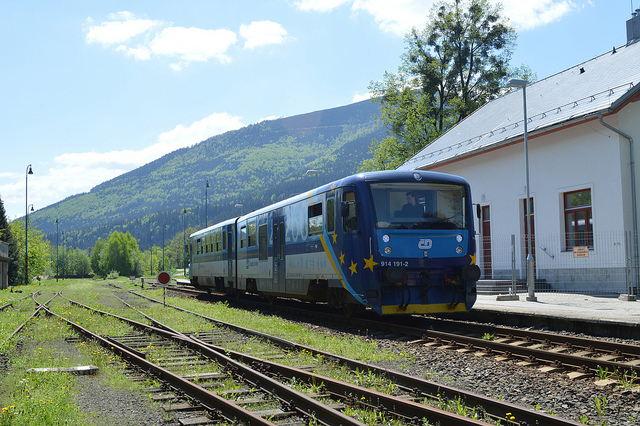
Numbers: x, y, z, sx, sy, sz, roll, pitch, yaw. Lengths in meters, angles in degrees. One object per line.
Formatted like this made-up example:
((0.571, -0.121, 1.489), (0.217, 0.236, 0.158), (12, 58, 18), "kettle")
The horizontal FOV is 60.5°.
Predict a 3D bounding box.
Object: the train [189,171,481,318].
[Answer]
((-1.512, 2.012, 25.666), (4.185, 4.987, 21.548), (2, -7, -24), "train")

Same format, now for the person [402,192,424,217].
((2.784, -0.268, 16.693), (0.709, 0.543, 0.200), (-7, 3, -4), "person")
